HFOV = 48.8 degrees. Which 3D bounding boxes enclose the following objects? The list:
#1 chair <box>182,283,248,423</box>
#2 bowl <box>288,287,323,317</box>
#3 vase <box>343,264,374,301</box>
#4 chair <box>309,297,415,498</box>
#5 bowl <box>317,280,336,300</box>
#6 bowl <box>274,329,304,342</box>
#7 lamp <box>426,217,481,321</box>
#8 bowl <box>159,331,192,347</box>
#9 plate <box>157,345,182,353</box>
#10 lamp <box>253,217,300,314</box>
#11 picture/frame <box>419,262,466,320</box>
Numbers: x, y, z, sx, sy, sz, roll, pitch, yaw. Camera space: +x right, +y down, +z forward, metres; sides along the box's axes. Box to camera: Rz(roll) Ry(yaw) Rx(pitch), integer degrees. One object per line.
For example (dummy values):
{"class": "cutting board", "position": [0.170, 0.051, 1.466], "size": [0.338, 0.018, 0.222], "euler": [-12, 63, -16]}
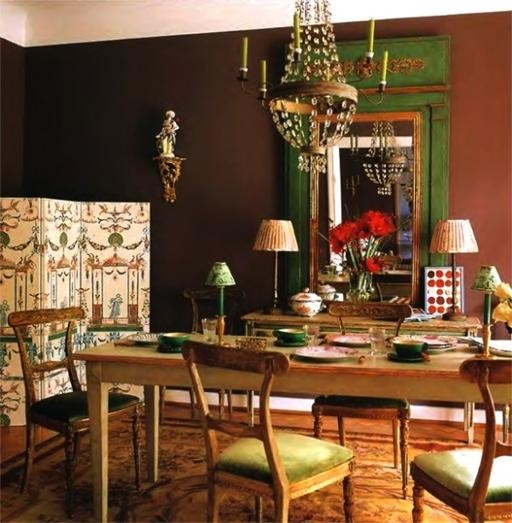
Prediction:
{"class": "chair", "position": [-0.363, 0.743, 4.601], "size": [0.617, 0.978, 0.557], "euler": [-9, 19, -25]}
{"class": "bowl", "position": [0.382, 0.314, 4.306], "size": [0.210, 0.160, 0.192], "euler": [1, -6, 0]}
{"class": "vase", "position": [0.756, 0.195, 4.174], "size": [0.225, 0.294, 0.212], "euler": [0, 6, -1]}
{"class": "chair", "position": [0.645, 0.673, 3.193], "size": [0.445, 0.790, 0.506], "euler": [4, 25, 14]}
{"class": "bowl", "position": [0.568, 0.223, 4.548], "size": [0.143, 0.124, 0.137], "euler": [1, -9, 0]}
{"class": "bowl", "position": [0.184, 0.374, 2.887], "size": [0.099, 0.035, 0.080], "euler": [1, 0, -16]}
{"class": "lamp", "position": [1.461, 0.039, 4.181], "size": [0.309, 0.707, 0.493], "euler": [-2, 5, 17]}
{"class": "bowl", "position": [-0.390, 0.373, 2.746], "size": [0.140, 0.048, 0.115], "euler": [2, 0, -34]}
{"class": "plate", "position": [-0.411, 0.419, 2.705], "size": [0.099, 0.018, 0.094], "euler": [3, -3, -41]}
{"class": "lamp", "position": [0.177, 0.019, 4.494], "size": [0.337, 0.726, 0.537], "euler": [-3, 4, 4]}
{"class": "picture/frame", "position": [1.409, 0.224, 4.254], "size": [0.451, 0.595, 0.042], "euler": [0, -1, 16]}
